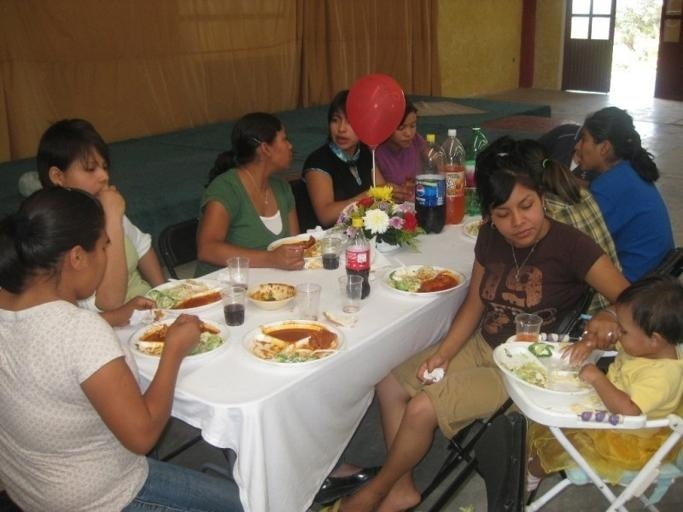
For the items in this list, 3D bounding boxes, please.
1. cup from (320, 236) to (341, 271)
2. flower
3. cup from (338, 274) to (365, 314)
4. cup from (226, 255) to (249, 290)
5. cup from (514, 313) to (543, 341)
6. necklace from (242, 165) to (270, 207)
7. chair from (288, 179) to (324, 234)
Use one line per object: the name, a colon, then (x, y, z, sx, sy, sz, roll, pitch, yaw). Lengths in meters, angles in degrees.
cup: (-0.058, -0.013, 2.292, 0.109, 0.174, 0.117, -1, 10, 0)
flower: (0.172, -0.154, 2.339, 0.277, 0.219, 0.281, 3, 11, -23)
cup: (0.020, 0.119, 1.923, 0.109, 0.133, 0.115, -4, 21, 2)
cup: (-0.380, 0.065, 1.966, 0.074, 0.116, 0.072, -2, 20, 1)
cup: (0.606, 0.237, 1.805, 0.086, 0.093, 0.073, 4, 3, -10)
necklace: (-0.413, -0.346, 2.619, 0.034, 0.223, 0.064, 16, 46, 44)
chair: (-0.197, -0.276, 2.931, 0.159, 0.310, 0.175, 19, 37, 37)
